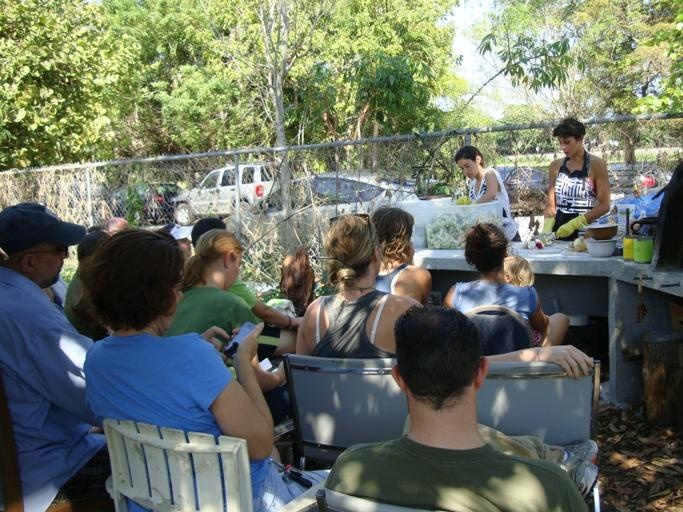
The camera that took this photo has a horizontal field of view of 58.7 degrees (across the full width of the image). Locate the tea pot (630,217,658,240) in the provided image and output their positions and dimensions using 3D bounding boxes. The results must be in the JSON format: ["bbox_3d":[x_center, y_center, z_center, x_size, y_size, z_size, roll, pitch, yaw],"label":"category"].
[{"bbox_3d":[2.262,-0.214,4.554,0.203,0.151,0.143,-1,0,39],"label":"tea pot"}]

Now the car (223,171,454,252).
[{"bbox_3d":[-0.271,-0.525,7.764,1.950,0.822,0.958,6,13,29],"label":"car"}]

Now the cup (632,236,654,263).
[{"bbox_3d":[2.222,-0.046,4.471,0.123,0.203,0.119,-1,1,0],"label":"cup"}]

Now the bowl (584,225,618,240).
[{"bbox_3d":[2.100,-0.211,4.918,0.225,0.104,0.119,-8,4,-37],"label":"bowl"}]

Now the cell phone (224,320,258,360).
[{"bbox_3d":[-0.510,0.416,3.070,0.117,0.216,0.052,32,-31,2],"label":"cell phone"}]

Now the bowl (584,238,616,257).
[{"bbox_3d":[2.045,-0.058,4.774,0.153,0.105,0.159,-1,-3,0],"label":"bowl"}]

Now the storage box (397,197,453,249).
[{"bbox_3d":[0.916,-0.381,5.980,0.603,0.664,0.461,-4,6,-29],"label":"storage box"}]
